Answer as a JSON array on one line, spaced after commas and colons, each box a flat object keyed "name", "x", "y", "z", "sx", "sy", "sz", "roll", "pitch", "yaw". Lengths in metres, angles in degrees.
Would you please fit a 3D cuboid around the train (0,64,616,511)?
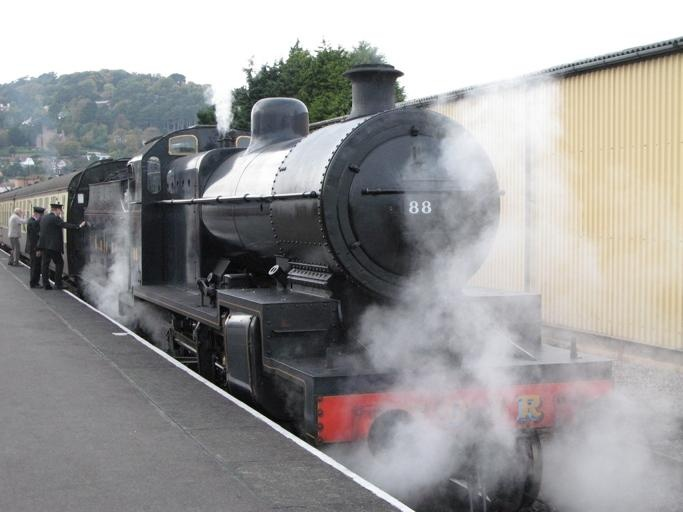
[{"name": "train", "x": -1.244, "y": -0.129, "z": 9.843, "sx": 2.638, "sy": 4.053, "sz": 10.435, "roll": -1, "pitch": 3, "yaw": -25}]

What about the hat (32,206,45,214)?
[{"name": "hat", "x": -8.705, "y": -1.325, "z": 17.977, "sx": 0.430, "sy": 0.184, "sz": 0.500, "roll": -2, "pitch": 10, "yaw": -32}]
